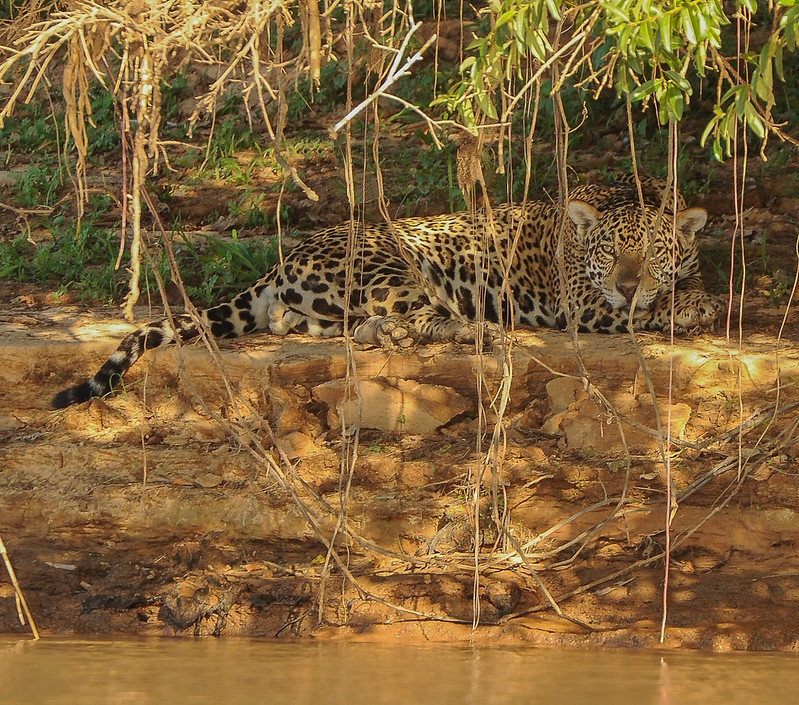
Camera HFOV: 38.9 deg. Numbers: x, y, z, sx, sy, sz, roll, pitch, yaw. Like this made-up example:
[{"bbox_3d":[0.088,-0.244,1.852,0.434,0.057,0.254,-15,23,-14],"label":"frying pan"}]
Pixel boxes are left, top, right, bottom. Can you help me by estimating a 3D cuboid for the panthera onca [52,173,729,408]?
[{"bbox_3d":[0.361,-0.403,6.145,4.454,0.914,1.186,-3,23,1],"label":"panthera onca"}]
